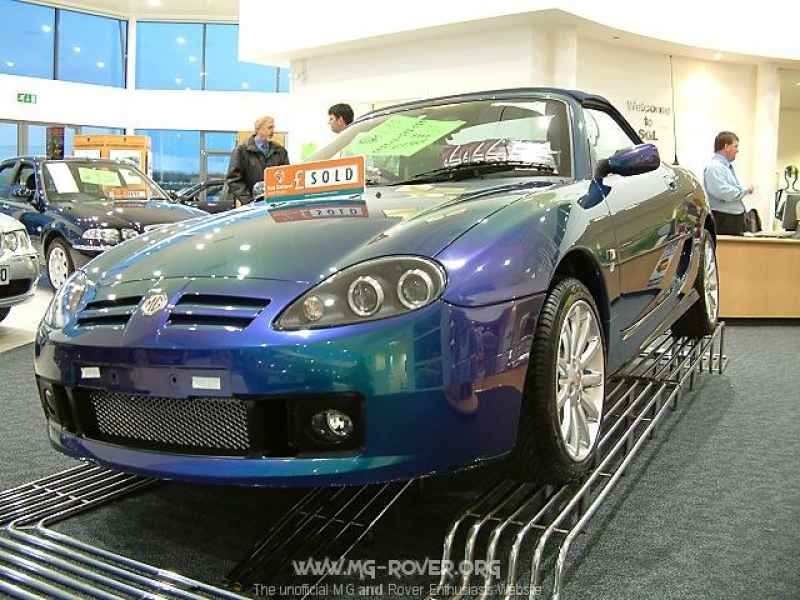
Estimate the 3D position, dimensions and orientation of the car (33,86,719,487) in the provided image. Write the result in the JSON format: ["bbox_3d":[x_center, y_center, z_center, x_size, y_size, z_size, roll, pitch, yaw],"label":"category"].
[{"bbox_3d":[0.408,-0.308,2.783,1.649,1.160,3.411,5,12,36],"label":"car"}]

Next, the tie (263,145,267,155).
[{"bbox_3d":[-1.375,-1.546,5.566,0.049,0.074,0.017,4,-4,4],"label":"tie"}]
